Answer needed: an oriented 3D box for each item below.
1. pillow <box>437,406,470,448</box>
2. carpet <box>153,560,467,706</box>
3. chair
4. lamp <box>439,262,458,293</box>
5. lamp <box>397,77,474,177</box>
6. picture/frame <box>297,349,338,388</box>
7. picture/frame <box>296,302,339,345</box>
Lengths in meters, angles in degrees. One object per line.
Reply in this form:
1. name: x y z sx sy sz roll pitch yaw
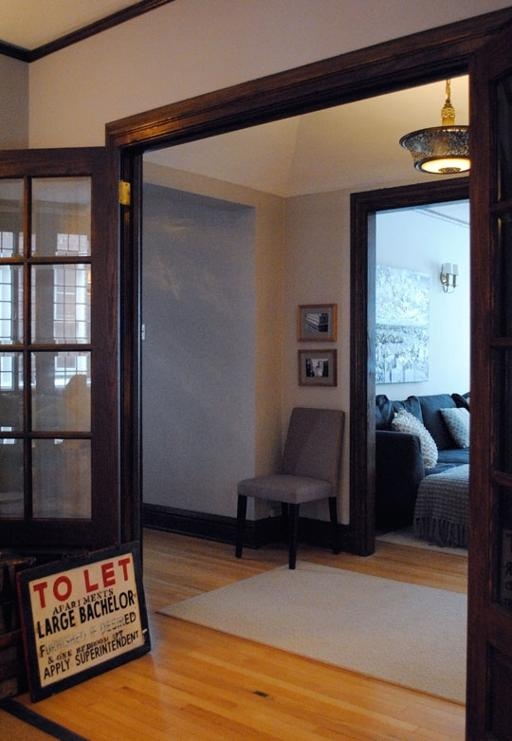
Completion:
1. pillow: 1.916 0.567 5.791 0.144 0.555 0.523 -8 -10 22
2. carpet: 0.452 1.215 2.961 1.418 0.036 1.188 -2 -5 35
3. chair: 0.212 0.771 4.156 0.648 1.031 0.678 -2 -5 39
4. lamp: 2.171 -1.076 6.741 0.136 0.515 0.319 0 1 36
5. lamp: 0.952 -1.264 3.156 0.320 0.433 0.575 -1 -4 22
6. picture/frame: 0.461 -0.019 4.341 0.230 0.264 0.017 1 -2 42
7. picture/frame: 0.460 -0.345 4.333 0.263 0.264 0.020 2 0 45
